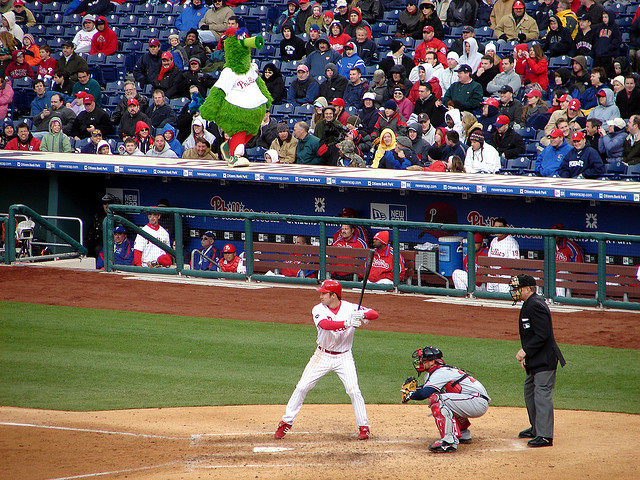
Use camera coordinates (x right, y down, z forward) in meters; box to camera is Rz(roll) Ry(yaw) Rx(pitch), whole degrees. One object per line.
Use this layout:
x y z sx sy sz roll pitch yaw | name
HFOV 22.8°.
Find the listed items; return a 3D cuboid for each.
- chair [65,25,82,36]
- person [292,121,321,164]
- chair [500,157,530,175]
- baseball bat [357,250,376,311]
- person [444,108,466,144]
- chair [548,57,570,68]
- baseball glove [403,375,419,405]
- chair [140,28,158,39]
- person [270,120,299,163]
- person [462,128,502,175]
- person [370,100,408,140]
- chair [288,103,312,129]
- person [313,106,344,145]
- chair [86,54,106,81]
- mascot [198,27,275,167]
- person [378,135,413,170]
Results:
-6.522 -5.485 41.818 0.289 0.392 0.327 2 2 -2 | chair
-0.277 -2.081 34.396 0.572 0.838 0.794 1 -5 -1 | person
4.137 -1.578 33.634 0.399 0.591 0.478 1 3 16 | chair
0.882 0.774 30.774 0.145 1.197 0.100 20 5 40 | baseball bat
2.857 -2.420 33.650 0.401 0.739 0.561 0 -5 13 | person
5.350 -3.952 35.482 0.342 0.223 0.305 4 14 25 | chair
1.459 2.403 25.822 0.184 0.432 0.311 7 3 7 | baseball glove
-4.414 -5.322 40.963 0.352 0.272 0.123 -2 -46 5 | chair
-0.867 -2.102 34.897 0.649 0.968 0.689 5 7 29 | person
3.395 -1.832 33.265 0.789 0.909 0.743 0 -5 5 | person
1.481 -2.505 34.375 0.806 1.089 0.581 -2 -12 19 | person
-0.503 -2.794 36.191 0.559 0.778 0.600 1 8 15 | chair
0.163 -2.434 34.464 0.610 0.929 0.565 -2 -6 20 | person
-5.696 -4.315 40.181 0.628 0.836 0.663 0 2 -2 | chair
-1.743 -3.088 33.104 1.131 2.315 1.646 0 -5 16 | mascot
1.638 -1.890 34.022 0.485 0.803 0.286 14 17 18 | person
